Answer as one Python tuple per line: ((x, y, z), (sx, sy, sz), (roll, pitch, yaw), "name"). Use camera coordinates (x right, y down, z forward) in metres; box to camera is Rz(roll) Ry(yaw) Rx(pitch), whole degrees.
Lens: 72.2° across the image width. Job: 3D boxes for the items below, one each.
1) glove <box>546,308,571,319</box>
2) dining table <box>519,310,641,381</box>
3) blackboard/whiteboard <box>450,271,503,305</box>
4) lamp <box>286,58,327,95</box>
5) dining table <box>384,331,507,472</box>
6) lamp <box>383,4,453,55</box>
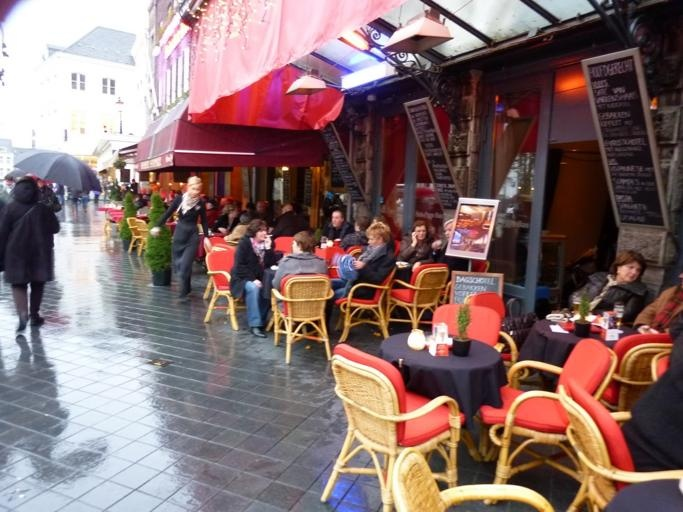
((2.408, 0.645, 5.145), (0.260, 0.075, 0.309), (-4, -3, 23), "glove")
((2.187, 0.811, 4.258), (0.982, 0.236, 0.934), (6, 15, 27), "dining table")
((1.847, 0.431, 6.424), (0.647, 0.364, 0.177), (0, 0, 1), "blackboard/whiteboard")
((-0.589, -2.873, 7.828), (0.897, 0.461, 0.776), (0, 18, -7), "lamp")
((0.983, 1.204, 3.976), (1.122, 0.639, 1.037), (-11, 19, -32), "dining table")
((0.860, -2.544, 5.249), (0.684, 0.356, 0.610), (0, 5, 0), "lamp")
